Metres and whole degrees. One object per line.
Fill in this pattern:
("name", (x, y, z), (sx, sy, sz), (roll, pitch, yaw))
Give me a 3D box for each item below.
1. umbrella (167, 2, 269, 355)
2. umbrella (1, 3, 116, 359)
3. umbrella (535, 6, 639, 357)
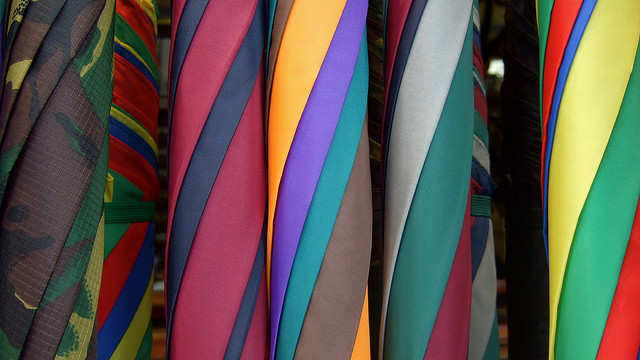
("umbrella", (-0.109, -0.002, 0.868), (0.118, 0.368, 0.098), (3, -15, -2))
("umbrella", (-0.283, -0.002, 0.843), (0.120, 0.367, 0.095), (5, -16, -9))
("umbrella", (0.291, -0.001, 0.869), (0.105, 0.368, 0.102), (-2, -16, 15))
